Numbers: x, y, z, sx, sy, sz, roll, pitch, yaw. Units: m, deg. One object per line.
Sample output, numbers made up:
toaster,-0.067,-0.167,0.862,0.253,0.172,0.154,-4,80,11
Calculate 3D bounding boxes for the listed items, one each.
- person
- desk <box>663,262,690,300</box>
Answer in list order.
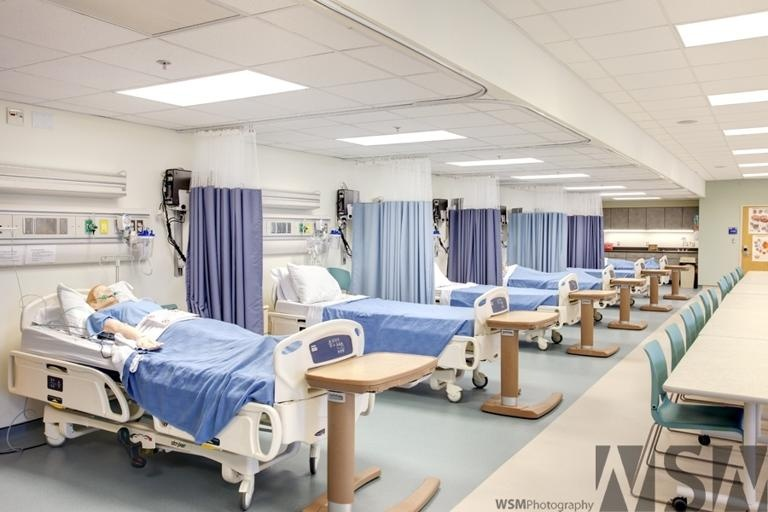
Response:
person,-2.375,0.542,4.577,0.753,0.221,0.503,24,14,23
desk,7.466,0.621,13.052,0.938,0.896,0.838,0,1,30
